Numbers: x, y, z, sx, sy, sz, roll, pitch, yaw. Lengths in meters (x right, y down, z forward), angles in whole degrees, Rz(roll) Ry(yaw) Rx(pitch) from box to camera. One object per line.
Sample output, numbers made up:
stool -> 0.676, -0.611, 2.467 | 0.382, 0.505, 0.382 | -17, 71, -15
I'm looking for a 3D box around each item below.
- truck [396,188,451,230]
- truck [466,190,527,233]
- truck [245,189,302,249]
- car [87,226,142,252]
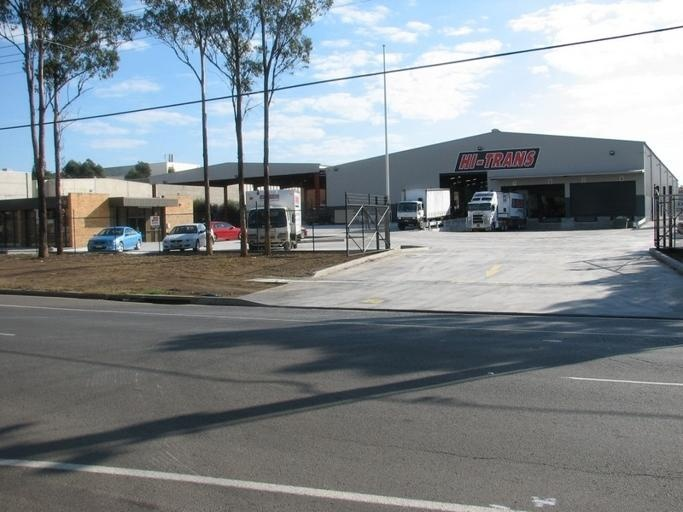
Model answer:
truck -> 7.552, -4.502, 63.414 | 2.441, 3.587, 7.947 | -1, 0, 23
truck -> 13.263, -3.933, 58.449 | 2.520, 3.737, 8.920 | 0, 2, 30
truck -> -3.883, -2.113, 38.444 | 2.140, 2.345, 4.296 | -1, 0, 6
car -> -14.342, -0.999, 42.721 | 1.513, 1.187, 3.483 | 0, -1, 7
